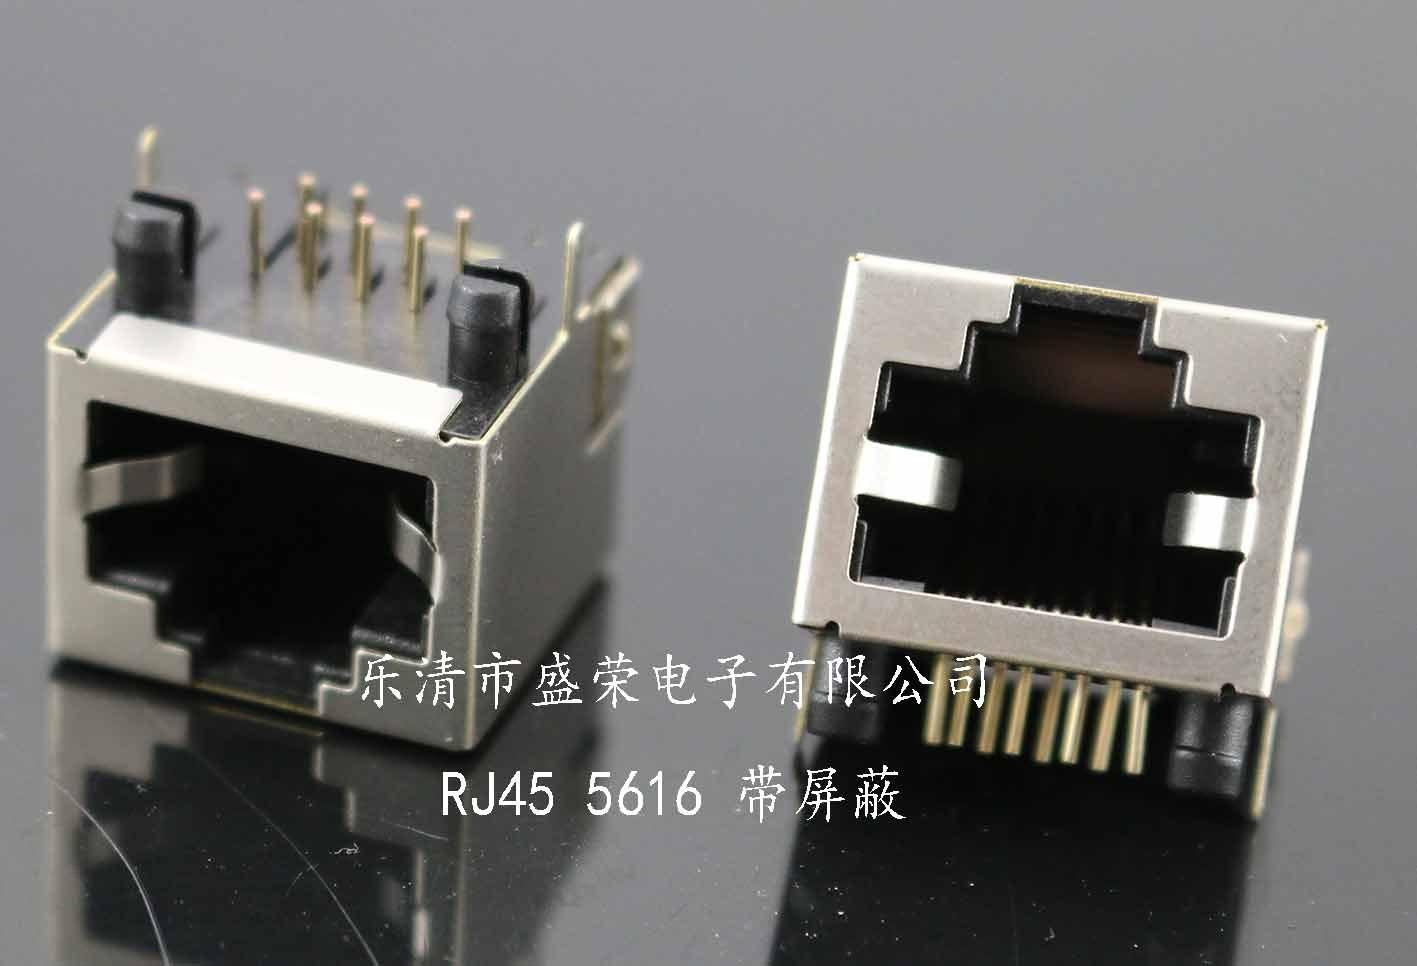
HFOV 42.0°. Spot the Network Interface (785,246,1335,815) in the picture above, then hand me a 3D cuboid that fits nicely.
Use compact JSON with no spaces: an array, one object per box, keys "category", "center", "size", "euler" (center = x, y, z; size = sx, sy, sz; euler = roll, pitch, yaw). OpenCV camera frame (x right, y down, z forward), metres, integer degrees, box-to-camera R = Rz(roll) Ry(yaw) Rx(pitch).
[{"category":"Network Interface","center":[0.281,0.015,1.508],"size":[0.394,0.370,0.427],"euler":[10,-49,9]}]

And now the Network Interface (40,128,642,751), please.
[{"category":"Network Interface","center":[-0.314,-0.054,1.544],"size":[0.373,0.372,0.298],"euler":[12,29,8]}]
